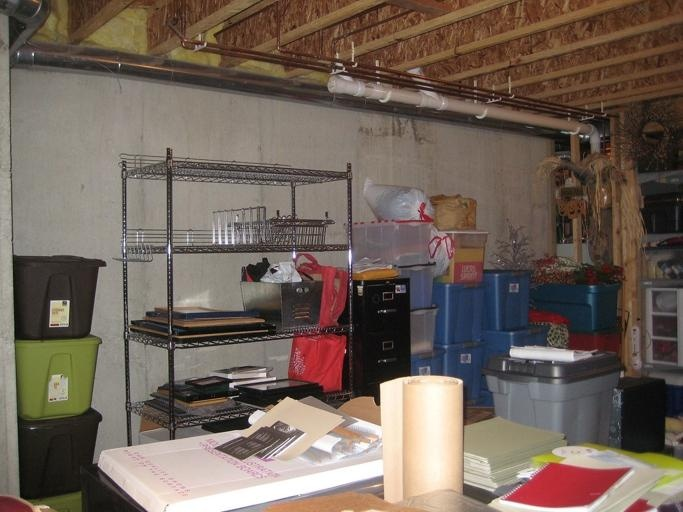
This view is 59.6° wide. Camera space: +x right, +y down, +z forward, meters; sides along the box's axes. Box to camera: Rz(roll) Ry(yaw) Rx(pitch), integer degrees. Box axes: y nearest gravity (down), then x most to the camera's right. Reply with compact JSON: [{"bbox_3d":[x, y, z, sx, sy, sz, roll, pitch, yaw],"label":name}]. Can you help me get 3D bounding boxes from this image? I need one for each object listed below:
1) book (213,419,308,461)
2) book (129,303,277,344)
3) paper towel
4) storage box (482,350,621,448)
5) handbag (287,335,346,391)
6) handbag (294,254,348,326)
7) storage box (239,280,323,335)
[{"bbox_3d":[-0.233,0.552,1.775,0.137,0.035,0.128,2,18,35],"label":"book"},{"bbox_3d":[-0.938,0.435,4.029,0.933,0.198,0.531,-1,2,-16],"label":"book"},{"bbox_3d":[0.205,0.493,1.595,0.224,0.341,0.151,0,1,13],"label":"paper towel"},{"bbox_3d":[1.184,0.750,3.528,0.555,0.725,0.593,-2,2,-39],"label":"storage box"},{"bbox_3d":[-0.172,0.786,4.398,0.415,0.409,0.188,0,-6,27],"label":"handbag"},{"bbox_3d":[-0.159,0.258,4.478,0.329,0.521,0.548,0,-1,-45],"label":"handbag"},{"bbox_3d":[-0.451,0.355,4.379,0.329,0.313,0.488,-2,4,-39],"label":"storage box"}]
